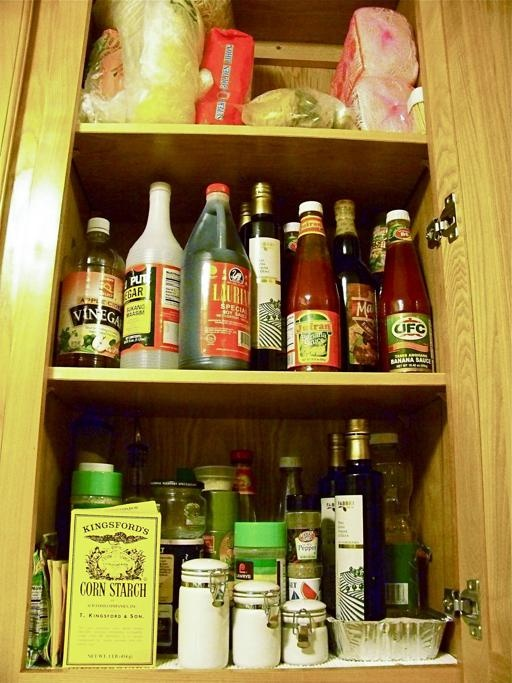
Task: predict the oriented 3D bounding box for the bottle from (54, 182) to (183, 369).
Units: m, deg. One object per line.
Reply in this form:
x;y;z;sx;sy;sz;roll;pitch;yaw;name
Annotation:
-0.195;-0.105;0.861;0.169;0.307;0.110;2;-11;-9;bottle

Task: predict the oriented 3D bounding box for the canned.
-0.105;0.227;0.805;0.078;0.077;0.079;0;-15;-1;canned

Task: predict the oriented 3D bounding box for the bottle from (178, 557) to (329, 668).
-0.009;0.327;0.717;0.140;0.122;0.138;-8;-14;35;bottle

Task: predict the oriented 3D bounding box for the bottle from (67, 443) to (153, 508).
-0.199;0.186;0.820;0.081;0.079;0.052;-5;-16;19;bottle
